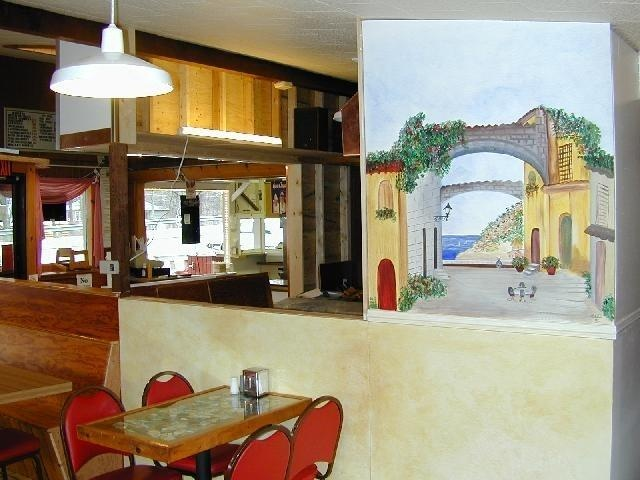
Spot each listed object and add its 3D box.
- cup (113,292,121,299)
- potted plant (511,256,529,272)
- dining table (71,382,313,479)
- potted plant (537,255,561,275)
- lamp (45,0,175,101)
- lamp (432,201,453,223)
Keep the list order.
[{"bbox_3d":[-1.593,0.430,4.194,0.091,0.049,0.023,-1,-2,36],"label":"cup"},{"bbox_3d":[1.100,0.129,2.969,0.082,0.069,0.080,-1,3,-6],"label":"potted plant"},{"bbox_3d":[-0.740,1.007,2.949,0.588,0.517,0.764,2,5,30],"label":"dining table"},{"bbox_3d":[1.237,0.124,2.913,0.092,0.085,0.094,-3,-7,45],"label":"potted plant"},{"bbox_3d":[-0.833,-0.712,2.357,0.479,0.482,0.457,-2,-2,5],"label":"lamp"},{"bbox_3d":[0.701,-0.170,3.134,0.109,0.102,0.075,0,2,1],"label":"lamp"}]
